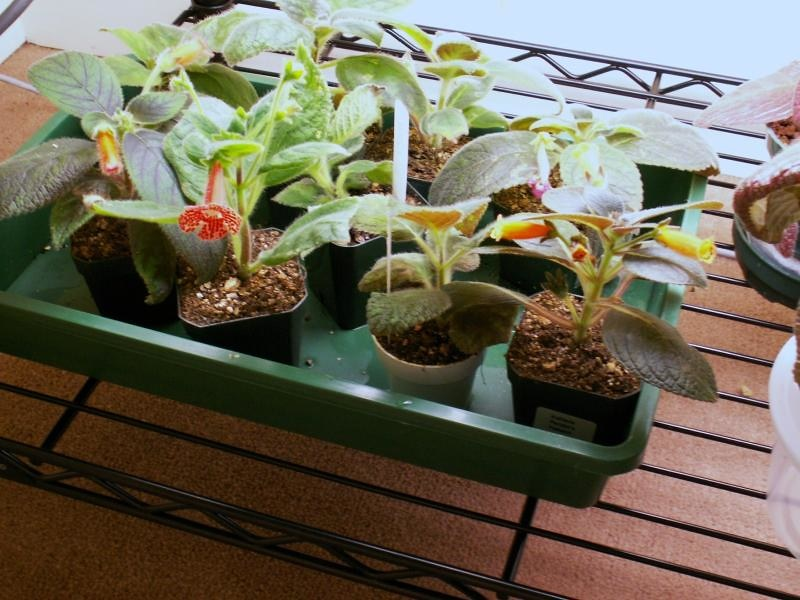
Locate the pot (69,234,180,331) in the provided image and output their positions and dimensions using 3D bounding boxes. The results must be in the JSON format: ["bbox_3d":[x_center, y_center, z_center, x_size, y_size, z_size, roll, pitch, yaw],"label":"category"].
[{"bbox_3d":[-0.318,-0.024,0.853,0.132,0.081,0.107,-15,54,-18],"label":"pot"}]

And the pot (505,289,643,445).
[{"bbox_3d":[0.185,0.076,0.734,0.142,0.083,0.137,2,41,-1],"label":"pot"}]
